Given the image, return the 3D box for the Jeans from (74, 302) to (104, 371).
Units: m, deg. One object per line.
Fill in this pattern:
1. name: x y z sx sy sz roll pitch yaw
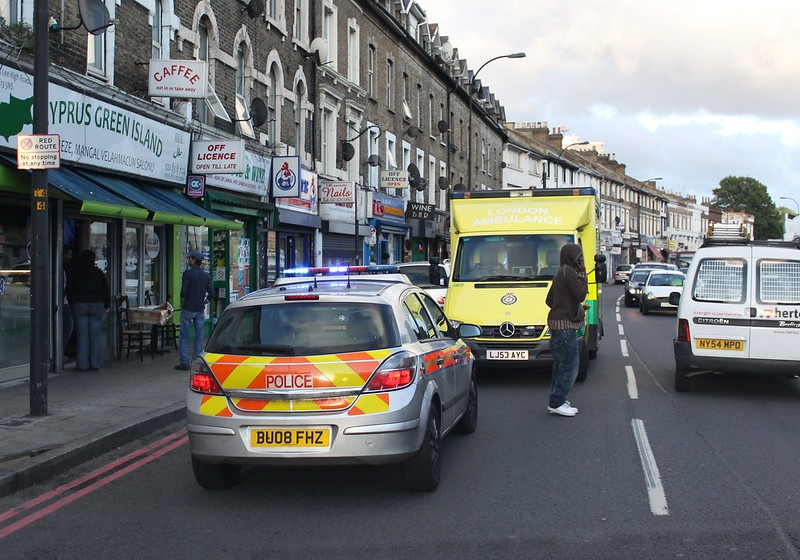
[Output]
1. Jeans: -6.022 0.962 13.319 0.560 1.560 0.432 -6 19 -35

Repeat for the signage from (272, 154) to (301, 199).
1. signage: -3.460 -3.149 20.993 1.066 1.741 0.176 0 4 7

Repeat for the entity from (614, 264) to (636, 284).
1. entity: 18.507 -0.514 56.662 1.357 1.398 3.488 0 8 16

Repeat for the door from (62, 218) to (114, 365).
1. door: -6.064 0.542 13.404 0.783 2.388 0.597 -1 -3 -24

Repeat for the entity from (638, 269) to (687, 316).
1. entity: 9.631 0.453 25.261 1.452 1.587 3.272 -1 -4 16

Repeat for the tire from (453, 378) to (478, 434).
1. tire: 0.793 1.542 8.423 0.201 0.724 0.665 -1 11 21

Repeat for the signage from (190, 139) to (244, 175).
1. signage: -4.350 -2.959 16.443 1.456 0.834 0.316 3 4 28

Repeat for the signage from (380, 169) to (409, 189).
1. signage: -0.187 -4.591 31.395 1.173 0.937 0.735 2 5 16

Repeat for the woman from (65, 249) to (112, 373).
1. woman: -6.043 0.555 13.431 0.725 2.318 0.602 -1 3 -17

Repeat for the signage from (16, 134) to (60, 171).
1. signage: -4.835 -1.712 9.220 0.464 0.444 0.025 0 4 7

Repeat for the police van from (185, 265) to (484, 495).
1. police van: -0.480 0.839 7.447 1.591 1.508 2.888 -1 2 10

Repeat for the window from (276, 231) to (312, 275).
1. window: -3.761 -1.047 24.658 0.105 1.300 1.856 4 -2 -36
